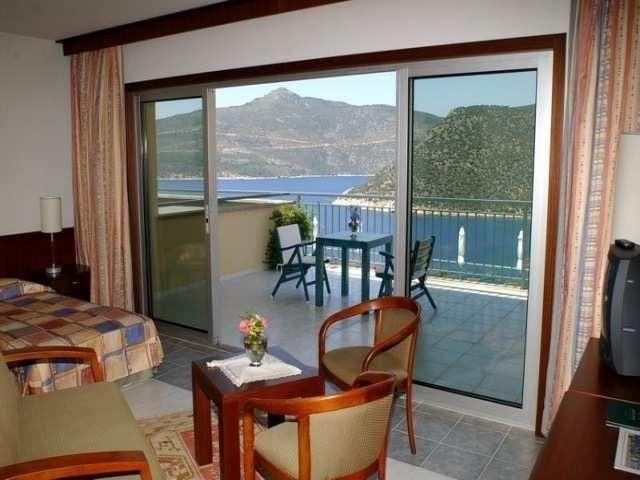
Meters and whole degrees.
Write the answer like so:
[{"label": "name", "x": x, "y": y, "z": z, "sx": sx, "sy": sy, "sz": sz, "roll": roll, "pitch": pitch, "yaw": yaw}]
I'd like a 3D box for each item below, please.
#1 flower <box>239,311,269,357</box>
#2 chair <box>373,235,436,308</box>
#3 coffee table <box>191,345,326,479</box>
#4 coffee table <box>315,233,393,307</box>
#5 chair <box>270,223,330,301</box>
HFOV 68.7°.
[{"label": "flower", "x": -0.403, "y": 0.641, "z": 2.999, "sx": 0.201, "sy": 0.297, "sz": 0.220, "roll": -5, "pitch": 3, "yaw": -25}, {"label": "chair", "x": 0.667, "y": 0.284, "z": 3.945, "sx": 0.475, "sy": 0.648, "sz": 0.398, "roll": 14, "pitch": -17, "yaw": -10}, {"label": "coffee table", "x": -0.435, "y": 0.988, "z": 3.034, "sx": 0.683, "sy": 0.729, "sz": 0.676, "roll": -5, "pitch": 10, "yaw": -35}, {"label": "coffee table", "x": 0.440, "y": 0.404, "z": 6.180, "sx": 1.030, "sy": 0.797, "sz": 1.045, "roll": 0, "pitch": 2, "yaw": -5}, {"label": "chair", "x": -0.213, "y": 0.301, "z": 6.724, "sx": 0.732, "sy": 0.951, "sz": 0.701, "roll": 3, "pitch": 7, "yaw": 17}]
